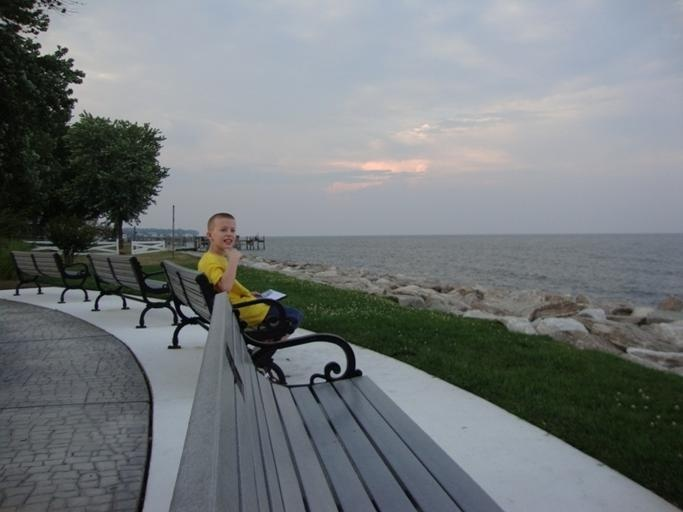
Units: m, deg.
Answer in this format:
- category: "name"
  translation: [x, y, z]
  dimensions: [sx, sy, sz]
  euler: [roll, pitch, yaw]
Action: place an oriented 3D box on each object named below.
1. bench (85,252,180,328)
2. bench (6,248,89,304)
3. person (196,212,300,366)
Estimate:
- category: "bench"
  translation: [-3.892, 0.528, 8.271]
  dimensions: [1.000, 1.220, 2.764]
  euler: [-5, 5, -42]
- category: "bench"
  translation: [-6.579, 0.343, 9.802]
  dimensions: [1.684, 0.783, 0.621]
  euler: [2, -23, 24]
- category: "person"
  translation: [-0.993, 0.340, 4.828]
  dimensions: [0.983, 1.653, 0.799]
  euler: [-8, 9, -18]
